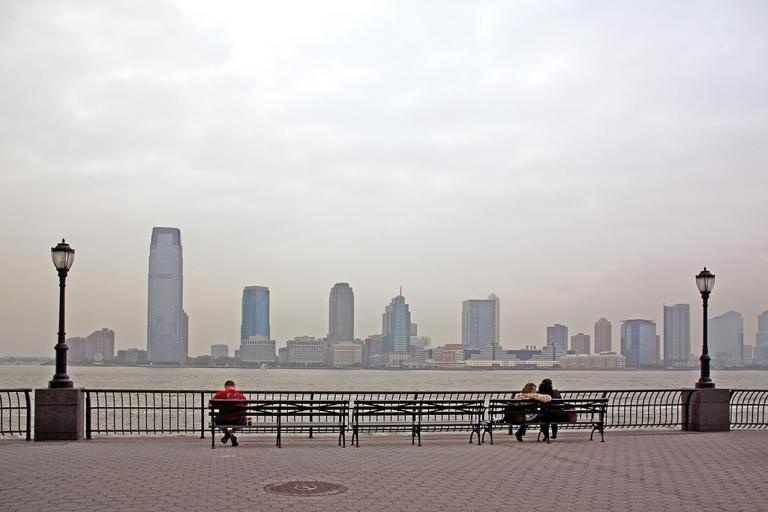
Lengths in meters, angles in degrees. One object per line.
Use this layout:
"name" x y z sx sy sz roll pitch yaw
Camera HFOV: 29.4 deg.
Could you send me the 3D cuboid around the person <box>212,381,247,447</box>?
"person" -4.957 4.978 46.938 1.375 2.021 1.281 5 -15 -15
